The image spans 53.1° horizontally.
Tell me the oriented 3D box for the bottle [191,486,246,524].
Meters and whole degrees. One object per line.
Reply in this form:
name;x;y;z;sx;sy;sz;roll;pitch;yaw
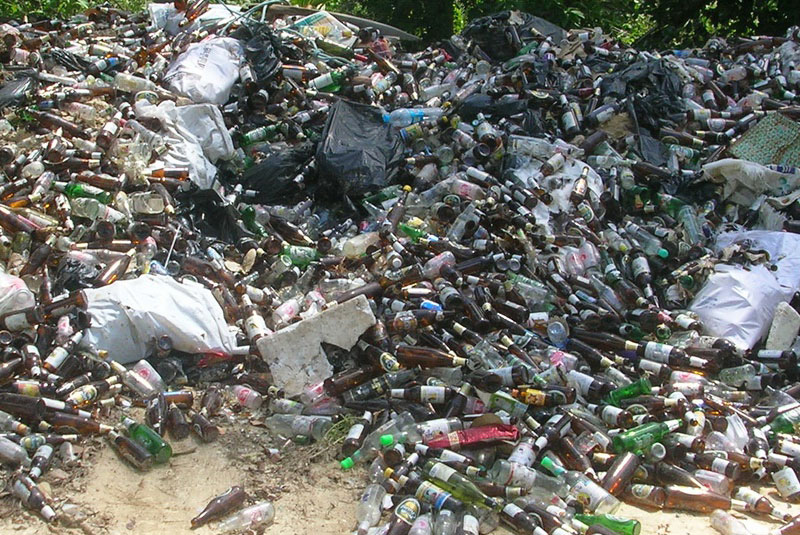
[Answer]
bottle;-1.363;1.827;6.160;0.468;0.156;0.164;-35;58;-29

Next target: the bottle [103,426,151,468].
bottle;-2.156;1.431;6.324;0.438;0.113;0.125;35;46;14
